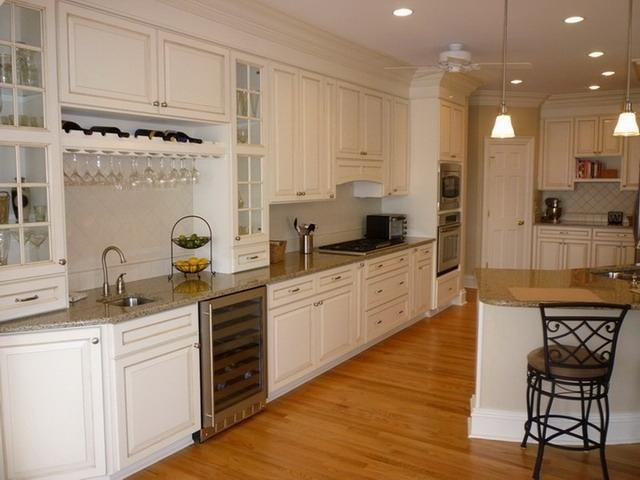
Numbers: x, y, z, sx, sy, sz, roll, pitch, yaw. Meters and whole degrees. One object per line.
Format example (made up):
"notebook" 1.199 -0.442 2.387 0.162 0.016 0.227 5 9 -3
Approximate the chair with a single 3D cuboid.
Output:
"chair" 1.703 0.935 3.472 0.571 1.139 0.812 6 14 26

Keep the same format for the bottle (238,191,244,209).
"bottle" -0.663 -0.324 4.284 0.047 0.094 0.092 -1 -12 -8

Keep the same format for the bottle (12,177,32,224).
"bottle" -1.832 -0.247 3.143 0.029 0.262 0.098 10 17 38

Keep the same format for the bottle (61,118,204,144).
"bottle" -1.357 -0.771 3.689 0.376 0.157 1.031 9 14 42

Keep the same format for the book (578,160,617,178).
"book" 4.260 -1.087 7.822 0.359 0.165 0.131 2 3 31

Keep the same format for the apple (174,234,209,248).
"apple" -1.041 0.012 4.178 0.191 0.059 0.171 -1 1 11

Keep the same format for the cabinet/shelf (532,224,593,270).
"cabinet/shelf" 3.730 0.078 7.796 0.812 0.632 0.457 2 4 35

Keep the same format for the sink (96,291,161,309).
"sink" -1.348 0.433 3.548 0.333 0.089 0.293 -9 13 -40
